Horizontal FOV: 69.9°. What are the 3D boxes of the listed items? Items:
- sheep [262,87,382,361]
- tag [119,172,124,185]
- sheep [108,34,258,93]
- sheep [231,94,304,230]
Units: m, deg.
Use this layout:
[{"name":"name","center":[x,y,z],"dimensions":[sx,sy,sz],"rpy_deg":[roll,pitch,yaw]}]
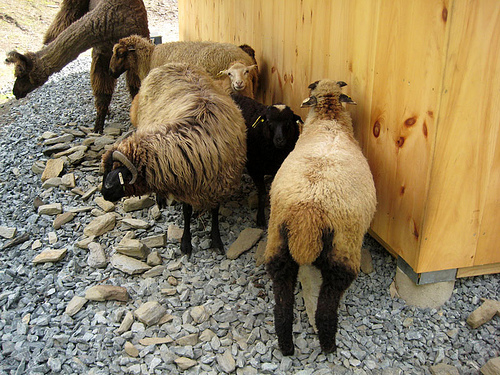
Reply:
[{"name":"sheep","center":[0.553,0.380,2.968],"dimensions":[0.822,1.330,1.455],"rpy_deg":[13,32,19]},{"name":"tag","center":[-1.124,-0.074,3.136],"dimensions":[0.029,0.098,0.049],"rpy_deg":[-12,31,-24]},{"name":"sheep","center":[-1.104,-1.621,5.788],"dimensions":[2.372,1.487,0.800],"rpy_deg":[5,9,9]},{"name":"sheep","center":[0.130,-0.331,4.531],"dimensions":[0.528,1.331,1.946],"rpy_deg":[2,12,-13]}]
